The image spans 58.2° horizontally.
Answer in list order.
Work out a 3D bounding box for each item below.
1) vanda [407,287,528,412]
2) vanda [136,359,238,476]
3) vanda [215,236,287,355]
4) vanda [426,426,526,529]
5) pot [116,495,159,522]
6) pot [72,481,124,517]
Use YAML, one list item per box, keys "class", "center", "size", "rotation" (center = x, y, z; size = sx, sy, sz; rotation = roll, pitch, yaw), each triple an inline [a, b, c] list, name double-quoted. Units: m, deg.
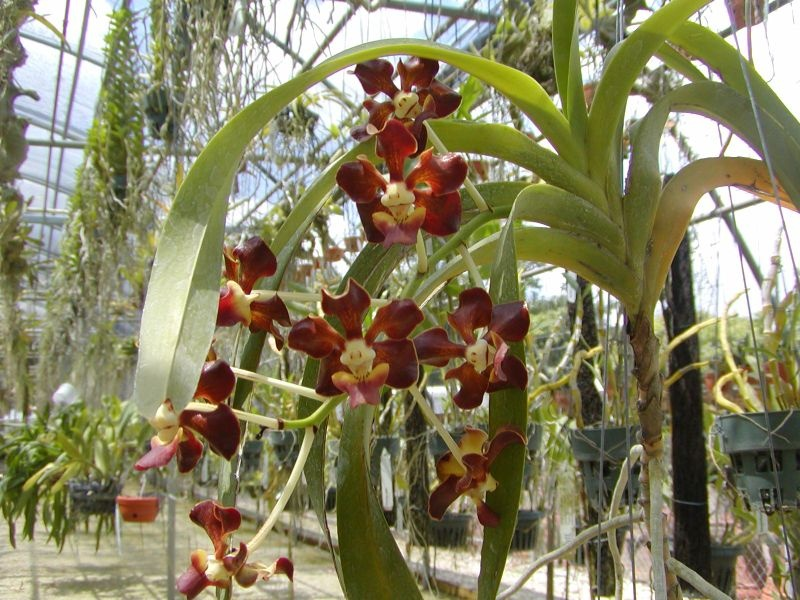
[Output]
- class: "vanda"
  center: [0.101, 0.072, 1.008]
  size: [0.158, 0.159, 0.088]
  rotation: [1, -15, 10]
- class: "vanda"
  center: [-0.287, 0.157, 0.990]
  size: [0.136, 0.159, 0.129]
  rotation: [15, -19, -34]
- class: "vanda"
  center: [-0.207, -0.019, 1.042]
  size: [0.105, 0.137, 0.065]
  rotation: [9, -15, -19]
- class: "vanda"
  center: [0.108, 0.251, 1.018]
  size: [0.128, 0.129, 0.086]
  rotation: [3, -15, 5]
- class: "pot"
  center: [-1.167, 0.924, 3.176]
  size: [0.179, 0.117, 0.206]
  rotation: [12, -18, -22]
- class: "pot"
  center: [-1.300, 0.825, 3.051]
  size: [0.134, 0.110, 0.139]
  rotation: [2, -3, 0]
